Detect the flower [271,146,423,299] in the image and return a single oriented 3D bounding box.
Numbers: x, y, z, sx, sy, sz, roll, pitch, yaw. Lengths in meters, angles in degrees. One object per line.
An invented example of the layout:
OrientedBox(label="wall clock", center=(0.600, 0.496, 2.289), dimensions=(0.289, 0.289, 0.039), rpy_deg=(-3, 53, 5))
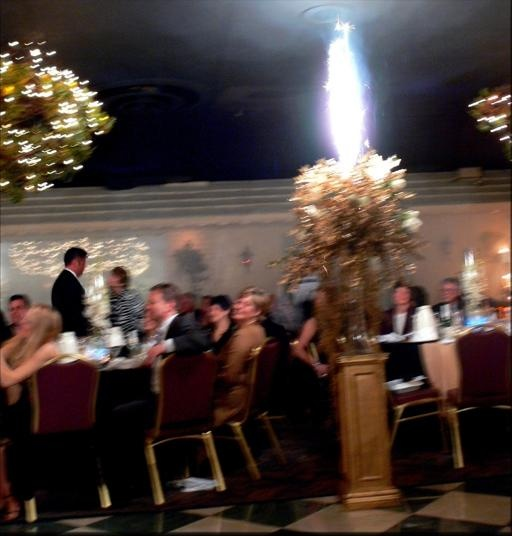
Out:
OrientedBox(label="flower", center=(0.412, -0.244, 2.844), dimensions=(0.991, 0.872, 0.716), rpy_deg=(-2, 2, -6))
